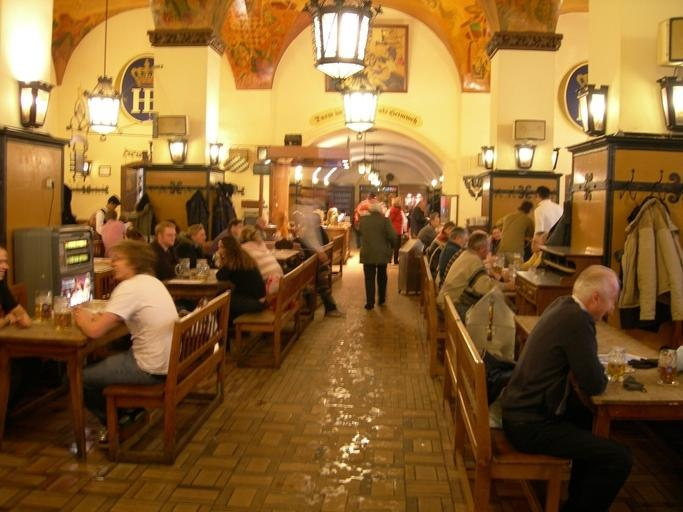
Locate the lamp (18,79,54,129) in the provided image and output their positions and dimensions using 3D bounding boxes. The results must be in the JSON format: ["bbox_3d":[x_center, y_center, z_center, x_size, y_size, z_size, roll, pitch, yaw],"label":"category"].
[{"bbox_3d":[-3.991,-1.984,7.352,0.398,0.611,0.269,-4,10,-30],"label":"lamp"}]

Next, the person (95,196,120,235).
[{"bbox_3d":[-4.863,-0.953,11.934,0.325,0.433,0.947,8,-33,-7],"label":"person"}]

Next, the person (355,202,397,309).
[{"bbox_3d":[0.682,-0.027,10.693,0.689,1.948,0.703,-3,10,-22],"label":"person"}]

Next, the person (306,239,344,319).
[{"bbox_3d":[-0.327,0.448,10.620,0.491,0.946,1.401,0,5,3],"label":"person"}]

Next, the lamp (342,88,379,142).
[{"bbox_3d":[0.292,-2.326,9.057,0.530,0.631,0.556,0,0,-2],"label":"lamp"}]

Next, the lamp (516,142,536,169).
[{"bbox_3d":[3.614,-1.992,11.176,0.444,0.590,0.449,0,2,-1],"label":"lamp"}]

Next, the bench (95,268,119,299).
[{"bbox_3d":[-3.173,0.352,7.566,0.287,0.463,0.474,1,4,-1],"label":"bench"}]

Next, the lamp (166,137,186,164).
[{"bbox_3d":[-3.239,-2.109,11.142,0.424,0.591,0.442,1,6,-7],"label":"lamp"}]

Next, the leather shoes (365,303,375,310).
[{"bbox_3d":[0.521,0.925,10.494,0.152,0.093,0.243,2,10,5],"label":"leather shoes"}]

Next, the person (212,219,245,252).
[{"bbox_3d":[-1.864,-0.363,9.244,0.398,0.765,0.324,13,24,-25],"label":"person"}]

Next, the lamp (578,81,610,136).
[{"bbox_3d":[3.146,-1.841,7.027,0.261,0.661,0.501,1,9,-2],"label":"lamp"}]

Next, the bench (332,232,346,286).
[{"bbox_3d":[-0.068,0.090,14.567,0.430,0.846,1.254,2,6,7],"label":"bench"}]

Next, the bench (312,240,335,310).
[{"bbox_3d":[-0.352,0.326,10.229,0.416,0.840,1.200,0,6,3],"label":"bench"}]
